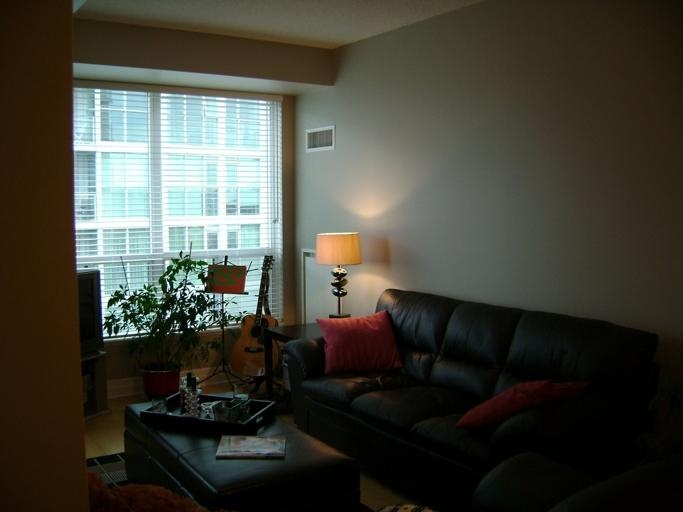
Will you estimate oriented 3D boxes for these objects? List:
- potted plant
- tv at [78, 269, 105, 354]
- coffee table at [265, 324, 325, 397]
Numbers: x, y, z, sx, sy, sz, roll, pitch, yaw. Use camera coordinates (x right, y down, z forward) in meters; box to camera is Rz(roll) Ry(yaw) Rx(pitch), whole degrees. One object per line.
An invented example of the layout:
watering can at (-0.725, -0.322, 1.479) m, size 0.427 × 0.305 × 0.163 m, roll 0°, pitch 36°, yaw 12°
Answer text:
potted plant at (-1.529, 0.614, 4.965) m, size 1.039 × 1.231 × 1.071 m, roll 8°, pitch 8°, yaw 21°
tv at (-1.961, 0.422, 4.311) m, size 0.157 × 0.639 × 0.381 m, roll -4°, pitch 5°, yaw -24°
coffee table at (-0.470, 0.790, 4.521) m, size 0.559 × 0.567 × 0.554 m, roll -1°, pitch 1°, yaw -44°
